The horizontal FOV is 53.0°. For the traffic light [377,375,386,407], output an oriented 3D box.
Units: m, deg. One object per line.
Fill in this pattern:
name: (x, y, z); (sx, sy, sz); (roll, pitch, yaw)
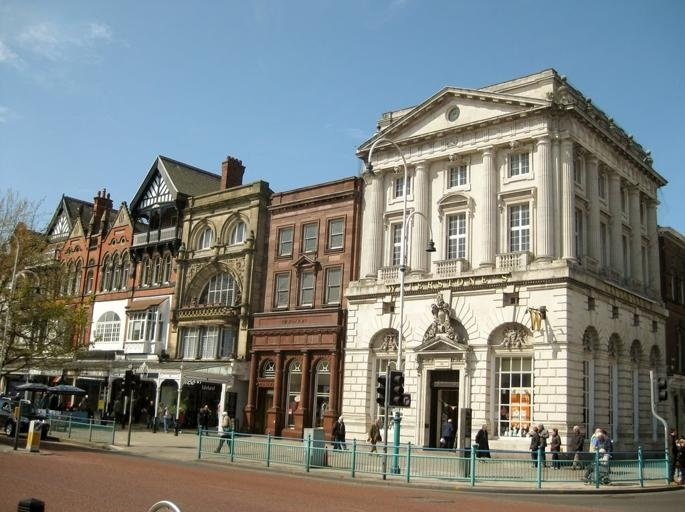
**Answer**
traffic light: (1.583, 5.501, 28.178); (0.313, 1.094, 0.874); (3, -17, -3)

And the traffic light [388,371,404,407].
traffic light: (2.151, 5.331, 27.876); (0.646, 1.413, 0.551); (3, -17, -2)
